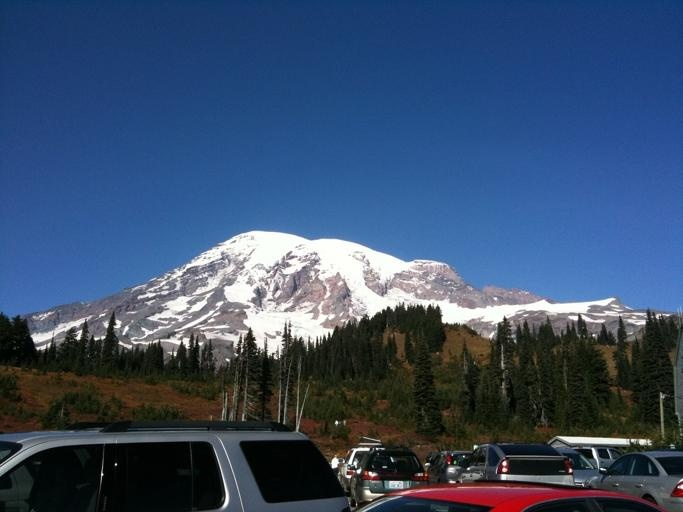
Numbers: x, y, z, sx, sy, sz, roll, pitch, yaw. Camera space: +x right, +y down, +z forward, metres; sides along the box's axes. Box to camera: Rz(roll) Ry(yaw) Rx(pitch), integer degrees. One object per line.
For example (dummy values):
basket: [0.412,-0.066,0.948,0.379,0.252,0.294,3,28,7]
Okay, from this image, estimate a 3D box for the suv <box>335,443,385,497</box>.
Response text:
suv: [1.080,8.074,28.025,1.998,2.346,4.364,1,-16,-2]
